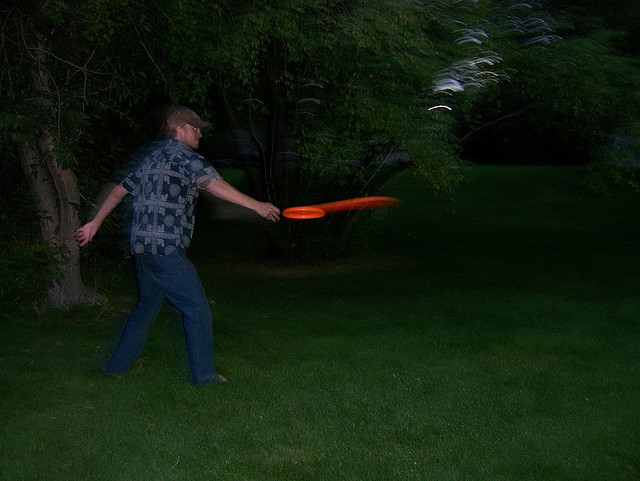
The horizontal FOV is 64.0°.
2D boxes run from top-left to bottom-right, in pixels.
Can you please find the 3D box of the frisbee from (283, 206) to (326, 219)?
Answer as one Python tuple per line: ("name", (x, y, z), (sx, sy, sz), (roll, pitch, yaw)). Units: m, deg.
("frisbee", (-0.205, -0.329, 6.103), (0.464, 0.156, 0.532), (3, 9, -6))
